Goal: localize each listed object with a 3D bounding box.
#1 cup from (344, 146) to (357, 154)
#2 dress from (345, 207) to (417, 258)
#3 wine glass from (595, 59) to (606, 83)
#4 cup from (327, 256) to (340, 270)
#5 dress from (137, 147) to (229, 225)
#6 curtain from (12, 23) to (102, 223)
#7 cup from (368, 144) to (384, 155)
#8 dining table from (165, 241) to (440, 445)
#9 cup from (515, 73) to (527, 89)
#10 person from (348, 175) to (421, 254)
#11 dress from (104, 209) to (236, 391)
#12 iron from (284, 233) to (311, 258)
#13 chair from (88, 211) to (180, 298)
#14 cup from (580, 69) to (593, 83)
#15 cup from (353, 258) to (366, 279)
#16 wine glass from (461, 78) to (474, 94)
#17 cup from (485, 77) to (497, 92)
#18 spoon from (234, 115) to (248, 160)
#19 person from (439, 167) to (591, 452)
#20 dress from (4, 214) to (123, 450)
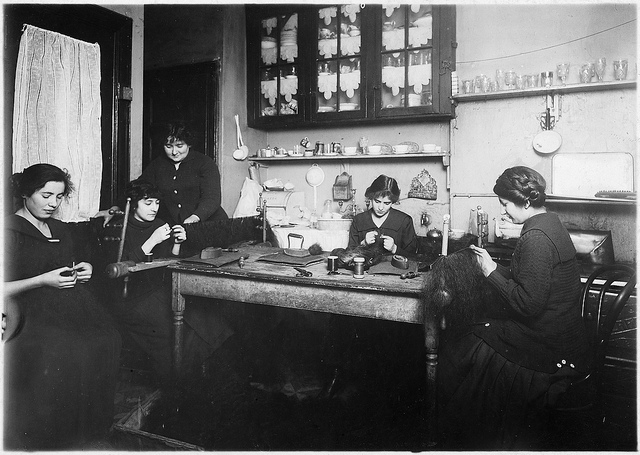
[{"bbox_3d":[0.252,-0.658,4.437,0.069,0.042,0.068,0,6,0],"label":"cup"},{"bbox_3d":[0.449,0.099,3.865,0.504,0.500,0.310,2,5,13],"label":"dress"},{"bbox_3d":[1.972,-1.097,3.679,0.061,0.159,0.077,7,10,37],"label":"wine glass"},{"bbox_3d":[0.074,0.207,3.043,0.068,0.069,0.070,0,-1,0],"label":"cup"},{"bbox_3d":[-1.125,-0.243,4.095,0.639,0.725,0.480,4,35,-6],"label":"dress"},{"bbox_3d":[-1.820,-0.713,3.653,0.241,1.324,0.778,4,8,24],"label":"curtain"},{"bbox_3d":[0.459,-0.650,4.397,0.099,0.061,0.099,-1,6,0],"label":"cup"},{"bbox_3d":[-0.088,0.619,3.410,1.573,0.784,0.942,5,5,7],"label":"dining table"},{"bbox_3d":[1.482,-1.092,3.884,0.088,0.105,0.094,-1,9,0],"label":"cup"},{"bbox_3d":[0.511,-0.091,3.915,0.531,0.821,0.440,0,17,6],"label":"person"},{"bbox_3d":[-1.018,0.450,3.480,0.816,1.131,0.466,-1,8,-13],"label":"dress"},{"bbox_3d":[-0.159,0.119,3.537,0.126,0.129,0.169,-7,14,-44],"label":"iron"},{"bbox_3d":[-1.296,0.134,3.391,0.561,0.679,0.513,2,0,3],"label":"chair"},{"bbox_3d":[1.894,-1.076,3.711,0.086,0.101,0.088,1,1,0],"label":"cup"},{"bbox_3d":[0.221,0.230,2.967,0.058,0.107,0.068,1,8,1],"label":"cup"},{"bbox_3d":[1.141,-1.090,4.091,0.109,0.152,0.126,2,2,10],"label":"wine glass"},{"bbox_3d":[1.305,-1.088,3.991,0.088,0.097,0.099,1,3,17],"label":"cup"},{"bbox_3d":[-0.687,-0.789,4.618,0.050,0.344,0.078,-16,5,-32],"label":"spoon"},{"bbox_3d":[1.055,0.576,2.833,0.783,1.305,0.366,3,8,13],"label":"person"},{"bbox_3d":[-1.473,0.576,2.990,0.601,1.314,0.380,-2,8,-23],"label":"dress"}]
